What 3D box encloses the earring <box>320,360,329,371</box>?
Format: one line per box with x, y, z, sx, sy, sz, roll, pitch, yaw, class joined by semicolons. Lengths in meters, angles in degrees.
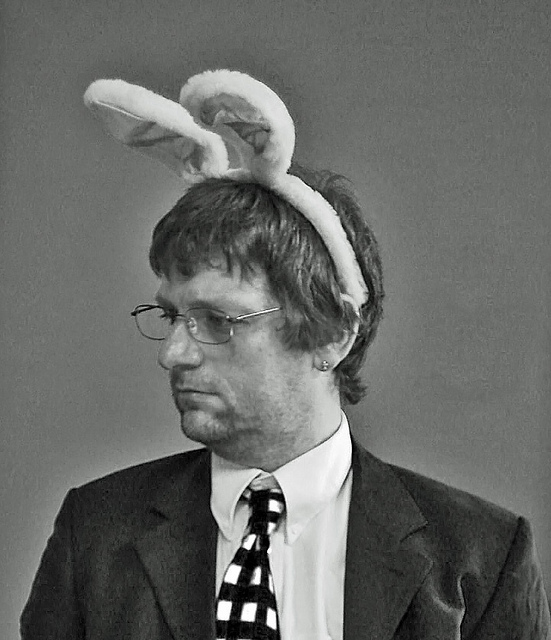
0.129;0.120;4.049;0.019;0.025;0.022;-5;10;-12;earring

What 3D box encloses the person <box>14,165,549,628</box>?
0.106;0.231;4.104;0.955;1.099;0.535;-1;-8;23;person
